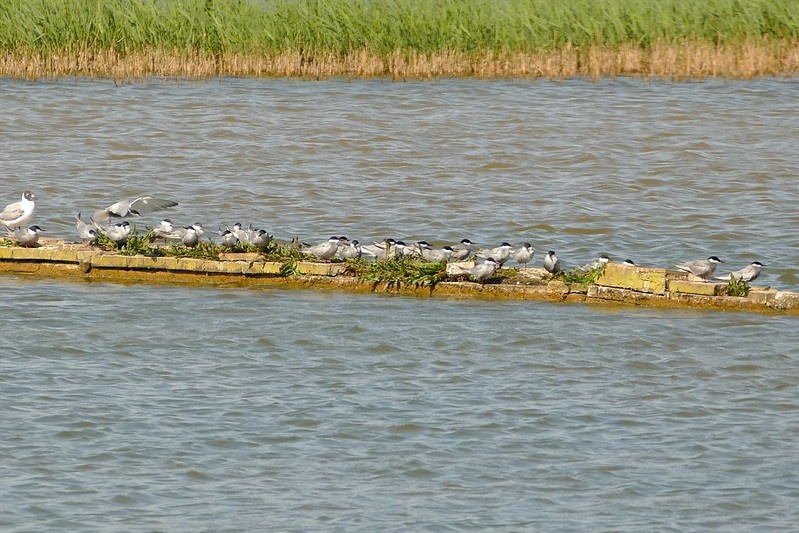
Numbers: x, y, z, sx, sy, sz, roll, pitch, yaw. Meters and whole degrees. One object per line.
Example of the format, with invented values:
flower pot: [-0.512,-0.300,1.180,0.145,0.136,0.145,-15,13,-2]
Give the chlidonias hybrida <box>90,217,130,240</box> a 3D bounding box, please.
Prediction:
chlidonias hybrida: [-6.588,-0.896,37.754,1.207,0.481,0.348,11,31,14]

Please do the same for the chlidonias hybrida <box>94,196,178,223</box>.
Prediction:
chlidonias hybrida: [-5.877,-1.261,37.415,1.451,0.871,0.114,-12,62,19]
